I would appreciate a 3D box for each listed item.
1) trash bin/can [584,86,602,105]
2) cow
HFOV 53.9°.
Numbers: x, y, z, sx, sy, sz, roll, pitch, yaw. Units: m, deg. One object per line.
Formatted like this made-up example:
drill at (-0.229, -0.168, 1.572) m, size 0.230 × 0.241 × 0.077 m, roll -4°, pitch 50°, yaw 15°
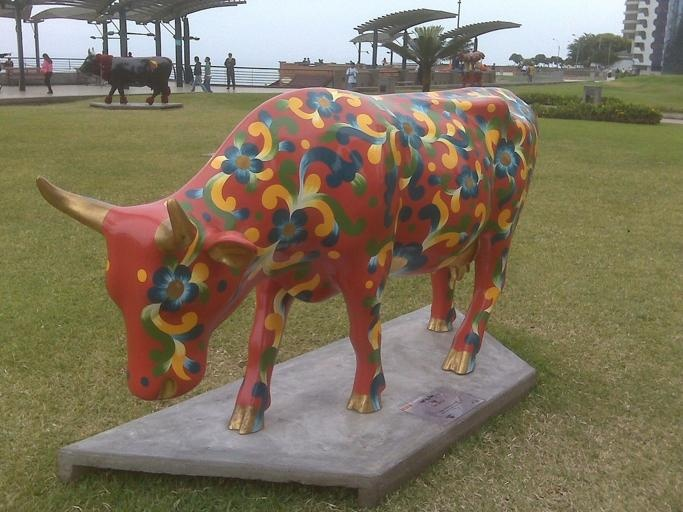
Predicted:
trash bin/can at (7.995, -5.134, 21.422) m, size 0.564 × 0.466 × 0.930 m, roll 8°, pitch 18°, yaw 24°
cow at (-6.260, -5.164, 19.668) m, size 2.348 × 1.320 × 1.632 m, roll -1°, pitch 17°, yaw -4°
